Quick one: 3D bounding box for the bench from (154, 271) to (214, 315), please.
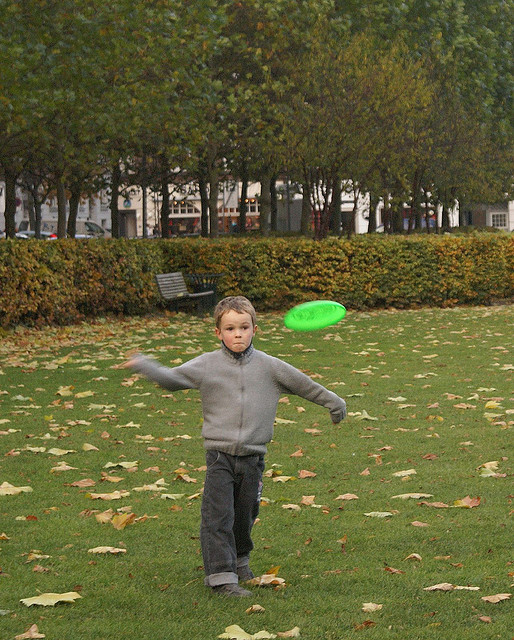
[{"bbox_3d":[-1.235,-0.471,23.415,0.966,0.861,1.748,0,10,-1],"label":"bench"}]

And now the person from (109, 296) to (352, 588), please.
[{"bbox_3d":[-0.172,0.859,9.347,1.258,2.010,0.598,-5,10,-30],"label":"person"}]

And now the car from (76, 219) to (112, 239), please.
[{"bbox_3d":[-6.079,-3.354,48.878,1.063,0.676,4.350,-1,10,-7],"label":"car"}]

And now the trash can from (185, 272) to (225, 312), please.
[{"bbox_3d":[-0.896,-0.344,24.216,0.818,1.002,0.843,-3,-1,-3],"label":"trash can"}]

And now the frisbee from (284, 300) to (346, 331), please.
[{"bbox_3d":[0.451,-0.029,10.043,0.486,0.185,0.398,-2,10,-14],"label":"frisbee"}]
